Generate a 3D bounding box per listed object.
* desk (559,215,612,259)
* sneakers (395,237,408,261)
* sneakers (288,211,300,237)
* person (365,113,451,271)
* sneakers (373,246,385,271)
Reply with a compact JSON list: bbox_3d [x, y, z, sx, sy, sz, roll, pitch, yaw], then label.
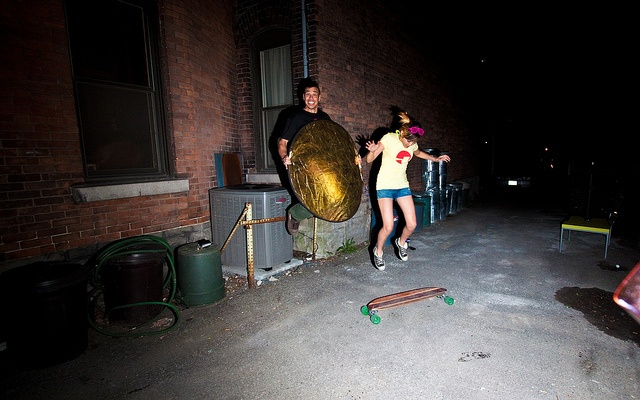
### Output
[{"bbox_3d":[5.765,0.740,8.246,0.905,0.575,1.091,6,13,32],"label":"desk"},{"bbox_3d":[1.729,1.019,7.858,0.200,0.548,0.229,-13,3,-29],"label":"sneakers"},{"bbox_3d":[-0.514,0.468,7.394,0.182,0.453,0.187,-10,16,-32],"label":"sneakers"},{"bbox_3d":[1.572,-0.175,7.409,1.263,3.024,0.882,-14,19,-38],"label":"person"},{"bbox_3d":[1.154,1.143,7.512,0.192,0.174,0.468,-6,49,-1],"label":"sneakers"}]
